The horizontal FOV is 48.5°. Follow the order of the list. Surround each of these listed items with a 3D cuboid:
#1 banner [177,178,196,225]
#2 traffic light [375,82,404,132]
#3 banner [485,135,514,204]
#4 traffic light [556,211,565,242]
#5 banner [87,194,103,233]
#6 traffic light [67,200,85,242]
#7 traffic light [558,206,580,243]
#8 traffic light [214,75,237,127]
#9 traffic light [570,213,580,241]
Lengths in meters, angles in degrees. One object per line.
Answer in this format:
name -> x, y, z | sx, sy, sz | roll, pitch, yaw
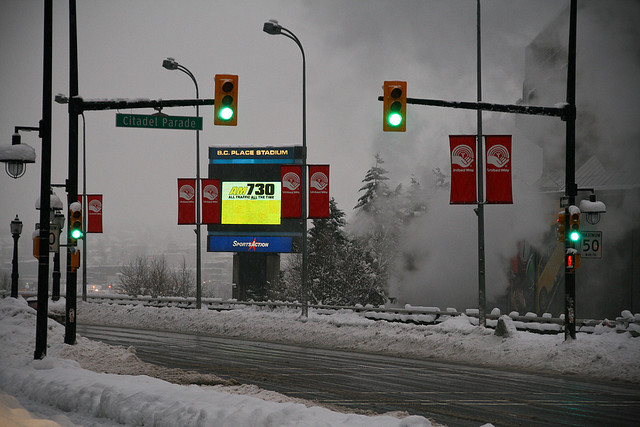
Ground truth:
banner -> -8.469, -0.775, 45.122 | 1.013, 2.878, 0.990 | 2, -3, -9
traffic light -> 2.973, -4.408, 28.774 | 0.861, 2.035, 0.968 | 1, -3, 5
banner -> 8.707, -2.231, 34.837 | 1.286, 3.387, 0.833 | 1, -3, 11
traffic light -> 10.931, 0.540, 32.282 | 0.297, 1.360, 0.679 | 0, -3, 18
banner -> -15.767, -0.033, 49.451 | 1.023, 2.561, 1.092 | 2, -3, -11
traffic light -> -11.038, 0.328, 31.979 | 0.631, 1.867, 1.110 | 2, -3, -21
traffic light -> 11.222, 0.472, 32.092 | 0.920, 1.647, 0.483 | 0, -3, 17
traffic light -> -3.773, -4.585, 28.347 | 0.869, 1.981, 0.817 | 2, -3, -11
traffic light -> 11.464, 0.586, 31.966 | 0.464, 1.243, 0.207 | 2, -3, -12
